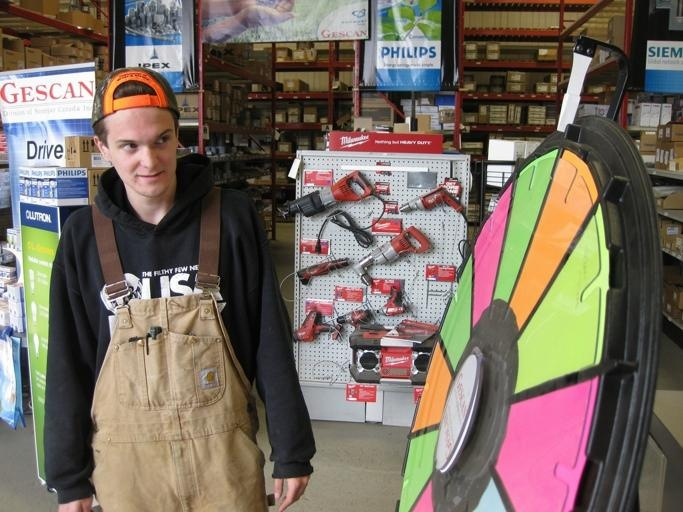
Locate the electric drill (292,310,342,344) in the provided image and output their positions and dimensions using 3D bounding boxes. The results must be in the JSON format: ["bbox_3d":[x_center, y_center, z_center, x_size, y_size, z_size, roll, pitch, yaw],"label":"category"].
[{"bbox_3d":[-0.107,0.399,3.469,0.283,0.145,0.291,7,2,1],"label":"electric drill"}]

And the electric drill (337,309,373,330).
[{"bbox_3d":[0.071,0.335,3.388,0.166,0.099,0.062,-18,-5,25],"label":"electric drill"}]

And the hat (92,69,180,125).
[{"bbox_3d":[-0.524,-0.408,1.585,0.141,0.179,0.095,-7,51,-18],"label":"hat"}]

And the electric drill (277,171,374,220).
[{"bbox_3d":[-0.088,-0.288,3.296,0.466,0.145,0.180,-24,53,0],"label":"electric drill"}]
